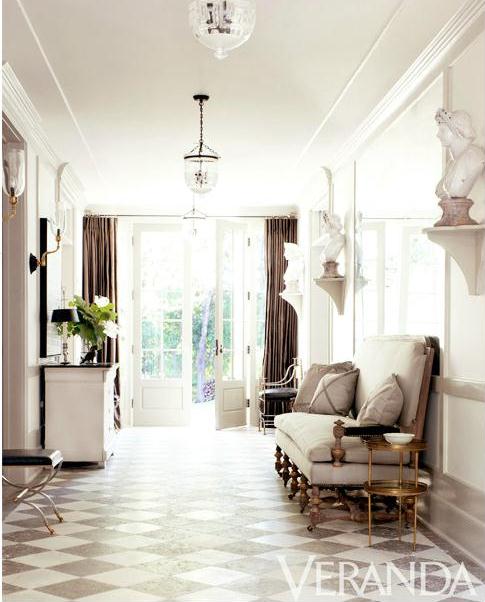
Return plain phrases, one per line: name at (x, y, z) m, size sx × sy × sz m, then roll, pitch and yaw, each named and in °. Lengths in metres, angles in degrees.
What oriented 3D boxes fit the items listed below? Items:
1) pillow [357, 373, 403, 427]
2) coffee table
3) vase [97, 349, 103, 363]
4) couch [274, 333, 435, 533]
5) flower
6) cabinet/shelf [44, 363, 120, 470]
pillow at (0.832, 0.598, 3.009) m, size 0.267 × 0.299 × 0.245 m, roll -2°, pitch -8°, yaw 12°
coffee table at (0.828, 1.034, 2.710) m, size 0.302 × 0.523 × 0.312 m, roll 3°, pitch -8°, yaw -2°
vase at (-2.166, 0.837, 7.595) m, size 0.075 × 0.201 × 0.320 m, roll 2°, pitch -8°, yaw -14°
couch at (0.692, 0.922, 3.813) m, size 0.758 × 1.289 × 1.773 m, roll 7°, pitch -8°, yaw -5°
flower at (-1.673, 0.138, 5.370) m, size 0.577 × 0.575 × 0.612 m, roll -9°, pitch -19°, yaw 22°
cabinet/shelf at (-1.574, 1.066, 5.415) m, size 0.763 × 1.210 × 1.389 m, roll 0°, pitch -3°, yaw -6°
